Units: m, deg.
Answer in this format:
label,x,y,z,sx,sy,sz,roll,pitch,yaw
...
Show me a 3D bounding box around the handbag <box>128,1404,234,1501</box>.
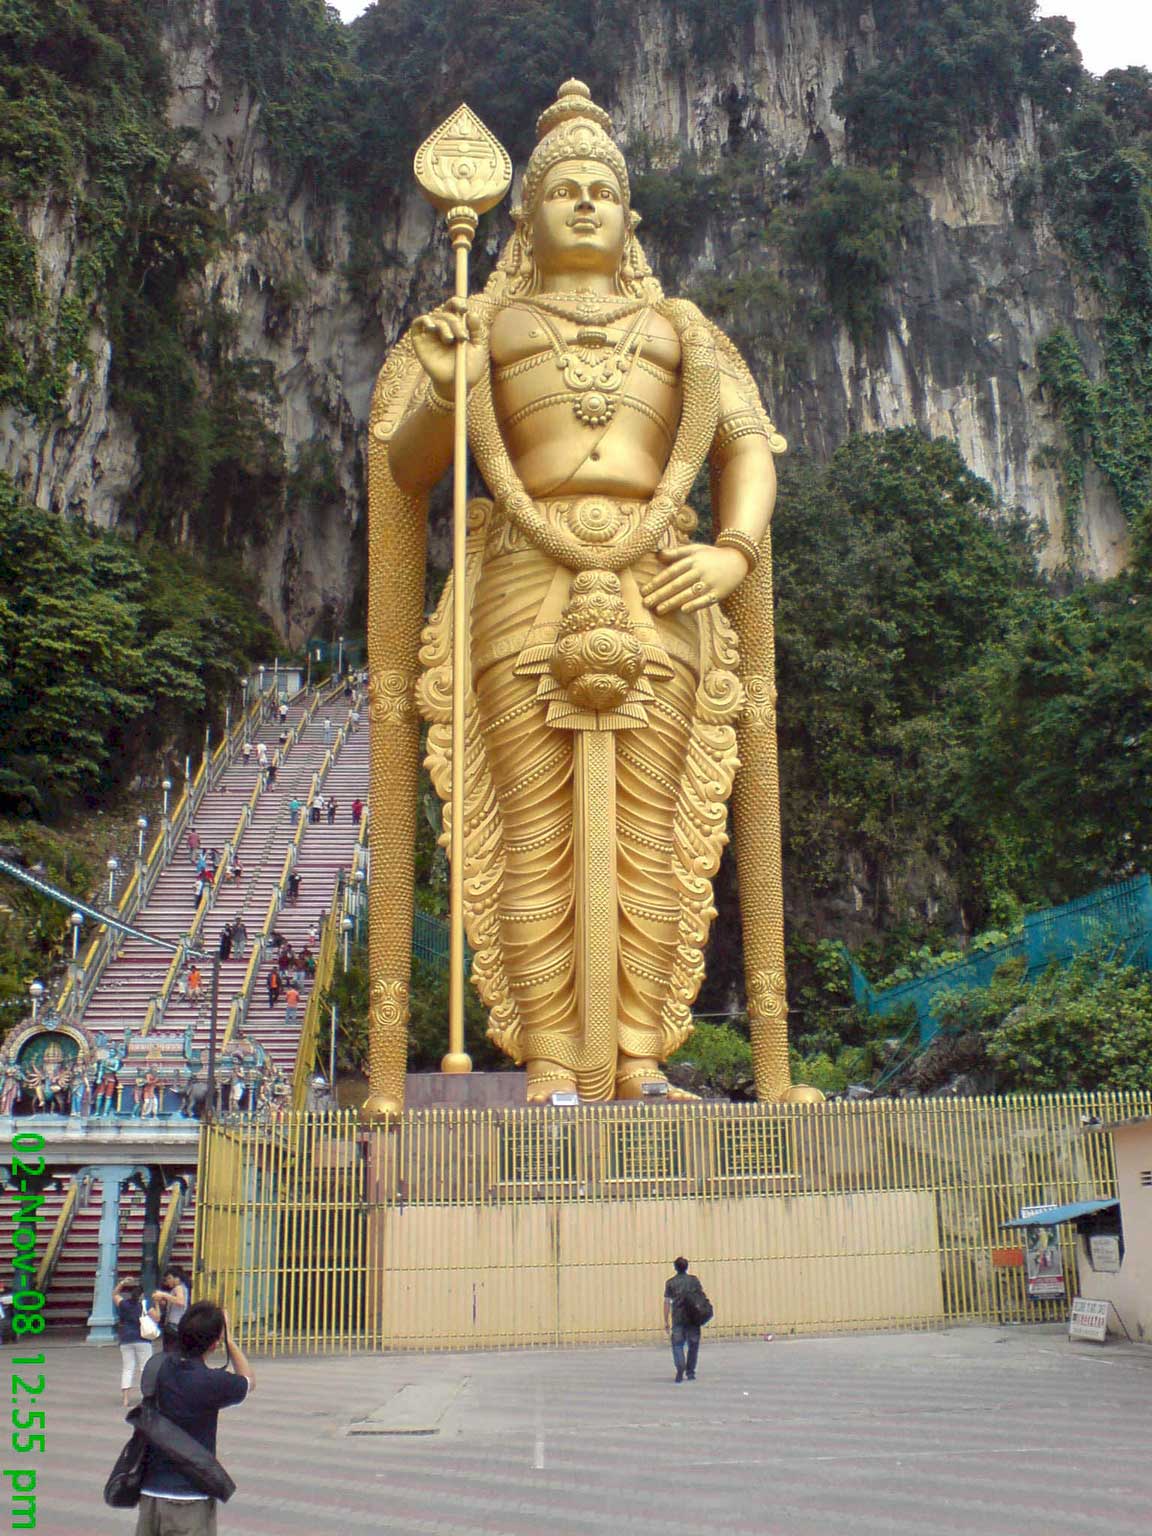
label,x,y,z,sx,sy,sz,roll,pitch,yaw
handbag,-0.679,1.192,2.629,0.051,0.200,0.116,-39,-19,-48
